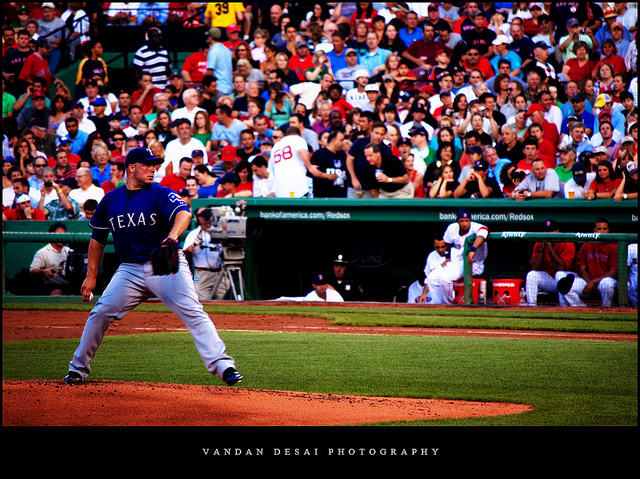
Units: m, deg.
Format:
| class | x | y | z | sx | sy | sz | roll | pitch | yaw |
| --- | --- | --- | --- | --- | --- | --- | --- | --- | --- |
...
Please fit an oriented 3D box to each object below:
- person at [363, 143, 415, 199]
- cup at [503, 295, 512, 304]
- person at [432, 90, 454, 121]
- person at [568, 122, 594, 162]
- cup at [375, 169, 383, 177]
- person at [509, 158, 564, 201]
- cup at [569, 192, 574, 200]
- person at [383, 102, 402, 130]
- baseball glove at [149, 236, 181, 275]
| class | x | y | z | sx | sy | sz | roll | pitch | yaw |
| --- | --- | --- | --- | --- | --- | --- | --- | --- | --- |
| person | 1.141 | -1.102 | 21.129 | 0.999 | 0.624 | 0.454 | 2 | -1 | -40 |
| cup | 3.090 | 1.026 | 21.097 | 0.121 | 0.195 | 0.122 | 1 | -11 | 0 |
| person | 2.247 | -2.407 | 23.193 | 0.476 | 0.271 | 0.786 | -15 | 39 | 14 |
| person | 4.508 | -1.689 | 22.102 | 0.414 | 0.719 | 0.553 | 1 | -1 | 11 |
| cup | 0.981 | -1.072 | 20.936 | 0.096 | 0.114 | 0.104 | 10 | 2 | 0 |
| person | 3.583 | -0.978 | 21.282 | 0.623 | 0.719 | 0.817 | -3 | 3 | 37 |
| cup | 4.169 | -0.713 | 21.269 | 0.089 | 0.124 | 0.085 | 1 | -12 | 0 |
| person | 1.327 | -2.285 | 23.111 | 0.339 | 0.540 | 1.242 | 1 | -1 | 6 |
| baseball glove | -1.965 | 0.233 | 16.466 | 0.348 | 0.490 | 0.183 | 1 | 7 | 26 |
